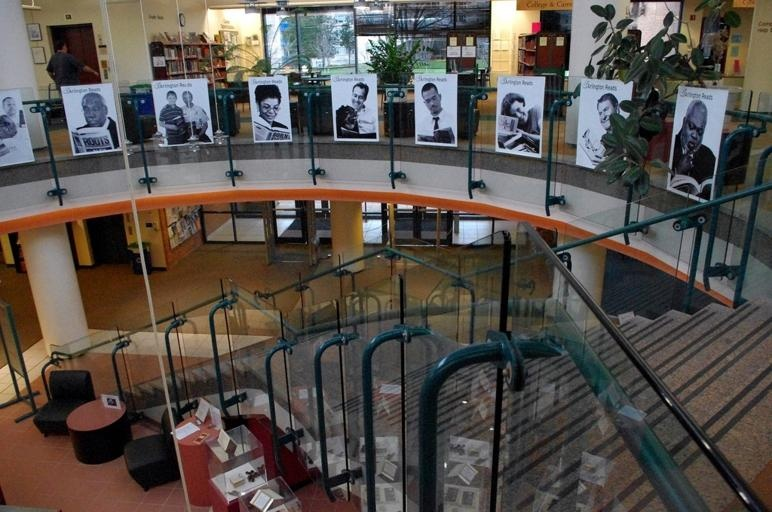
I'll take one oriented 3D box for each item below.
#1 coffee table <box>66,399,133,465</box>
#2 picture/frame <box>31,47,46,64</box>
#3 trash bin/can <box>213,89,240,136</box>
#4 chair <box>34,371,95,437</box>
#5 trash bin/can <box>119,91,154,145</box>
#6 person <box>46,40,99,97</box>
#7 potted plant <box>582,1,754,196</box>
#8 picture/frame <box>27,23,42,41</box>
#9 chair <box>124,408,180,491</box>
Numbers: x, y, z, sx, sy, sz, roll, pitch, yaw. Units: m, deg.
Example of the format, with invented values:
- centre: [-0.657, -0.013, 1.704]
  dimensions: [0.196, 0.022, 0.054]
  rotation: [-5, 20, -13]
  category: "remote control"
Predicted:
- centre: [-3.844, 2.376, 7.809]
  dimensions: [0.851, 0.625, 0.833]
  rotation: [1, 29, -10]
  category: "coffee table"
- centre: [-7.949, -4.620, 13.028]
  dimensions: [0.290, 0.365, 0.151]
  rotation: [-10, 22, -19]
  category: "picture/frame"
- centre: [-2.200, -2.021, 7.964]
  dimensions: [0.529, 0.534, 0.518]
  rotation: [-2, 24, -33]
  category: "trash bin/can"
- centre: [-4.567, 2.118, 8.060]
  dimensions: [0.541, 0.729, 0.705]
  rotation: [1, 21, -9]
  category: "chair"
- centre: [-3.318, -1.839, 7.587]
  dimensions: [0.453, 0.651, 0.274]
  rotation: [-2, 21, 1]
  category: "trash bin/can"
- centre: [-4.730, -2.819, 8.403]
  dimensions: [0.501, 0.717, 1.539]
  rotation: [-13, 23, -26]
  category: "person"
- centre: [2.452, -1.457, 5.385]
  dimensions: [1.171, 1.823, 1.445]
  rotation: [4, 21, 17]
  category: "potted plant"
- centre: [-7.956, -5.088, 12.876]
  dimensions: [0.276, 0.387, 0.172]
  rotation: [-13, 23, -27]
  category: "picture/frame"
- centre: [-3.002, 2.526, 7.339]
  dimensions: [0.687, 0.679, 0.655]
  rotation: [-16, 22, -24]
  category: "chair"
